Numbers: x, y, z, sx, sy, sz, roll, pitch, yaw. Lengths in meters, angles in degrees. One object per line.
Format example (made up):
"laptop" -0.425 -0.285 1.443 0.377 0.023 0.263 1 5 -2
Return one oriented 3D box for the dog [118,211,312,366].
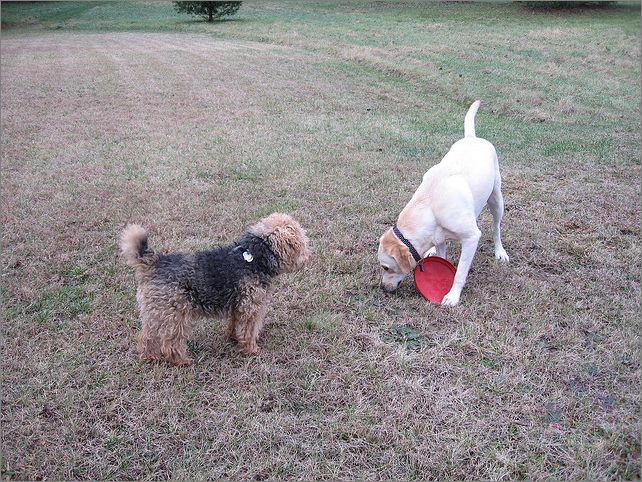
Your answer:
"dog" -1.430 0.372 6.803 2.876 2.149 1.050 -7 17 -23
